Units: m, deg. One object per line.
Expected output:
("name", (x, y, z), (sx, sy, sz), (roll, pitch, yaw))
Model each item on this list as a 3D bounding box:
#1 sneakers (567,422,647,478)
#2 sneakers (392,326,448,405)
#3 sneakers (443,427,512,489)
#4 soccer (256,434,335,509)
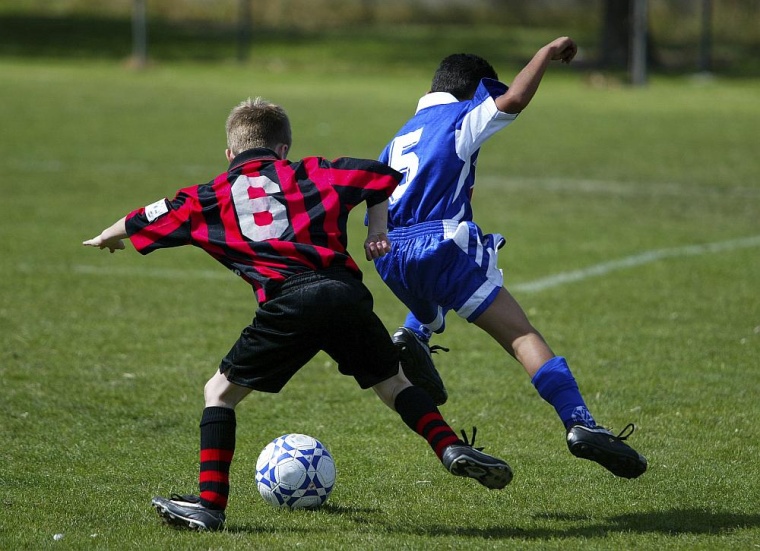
("sneakers", (1.101, 0.857, 6.215), (0.404, 0.219, 0.187), (26, 46, 1))
("sneakers", (0.209, 0.510, 6.901), (0.135, 0.387, 0.283), (-31, 7, 41))
("sneakers", (0.488, 0.944, 6.386), (0.319, 0.122, 0.225), (30, 45, -10))
("soccer", (-0.449, 0.994, 6.383), (0.348, 0.349, 0.349), (-3, -9, 13))
